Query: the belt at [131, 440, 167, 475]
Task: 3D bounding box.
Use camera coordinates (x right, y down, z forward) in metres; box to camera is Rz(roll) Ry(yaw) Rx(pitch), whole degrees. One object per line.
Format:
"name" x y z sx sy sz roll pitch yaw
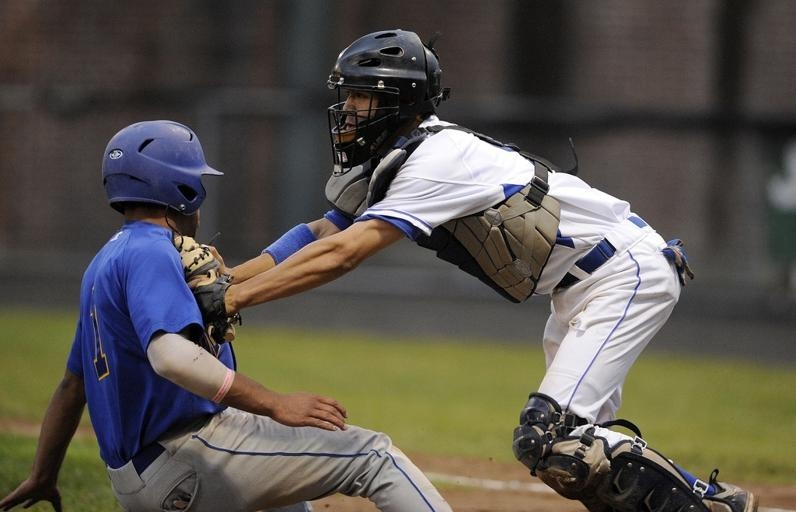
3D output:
"belt" -2.175 1.771 11.484 0.264 0.291 0.053 6 5 -9
